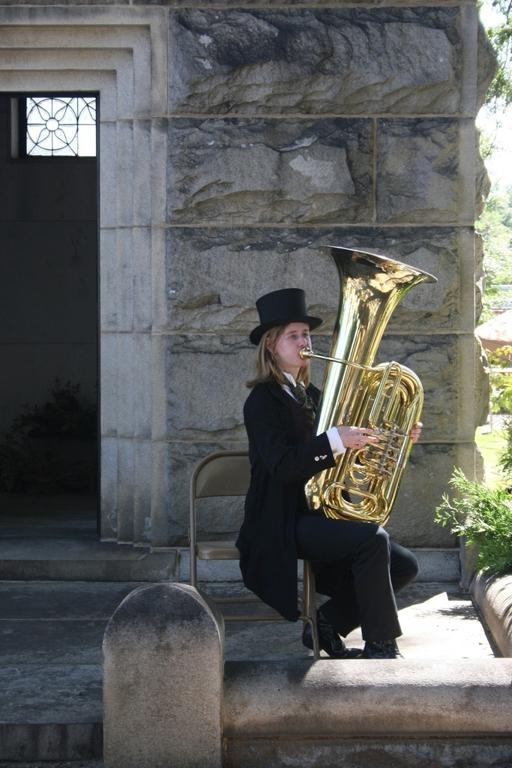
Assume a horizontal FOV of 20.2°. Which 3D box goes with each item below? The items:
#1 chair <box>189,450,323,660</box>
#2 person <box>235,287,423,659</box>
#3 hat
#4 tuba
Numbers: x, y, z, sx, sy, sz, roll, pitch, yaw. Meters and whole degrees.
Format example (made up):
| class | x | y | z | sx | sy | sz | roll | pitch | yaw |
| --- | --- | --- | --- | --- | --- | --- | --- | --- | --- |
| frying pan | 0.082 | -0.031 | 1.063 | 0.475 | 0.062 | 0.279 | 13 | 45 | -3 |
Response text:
| class | x | y | z | sx | sy | sz | roll | pitch | yaw |
| --- | --- | --- | --- | --- | --- | --- | --- | --- | --- |
| chair | 0.004 | 0.775 | 6.596 | 0.739 | 0.879 | 0.589 | 0 | -2 | 0 |
| person | 0.390 | 0.406 | 6.386 | 0.792 | 1.642 | 0.726 | 0 | 0 | 32 |
| hat | 0.127 | -0.316 | 6.458 | 0.281 | 0.248 | 0.256 | 5 | 5 | 2 |
| tuba | 0.472 | 0.009 | 6.157 | 0.527 | 1.190 | 0.372 | 1 | 9 | 6 |
